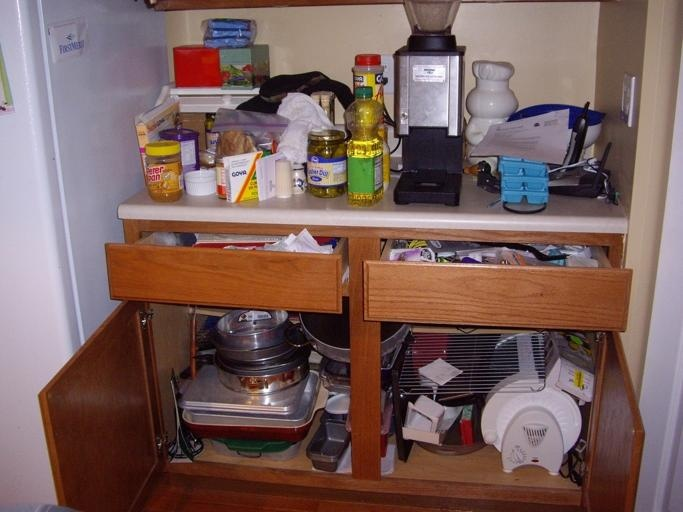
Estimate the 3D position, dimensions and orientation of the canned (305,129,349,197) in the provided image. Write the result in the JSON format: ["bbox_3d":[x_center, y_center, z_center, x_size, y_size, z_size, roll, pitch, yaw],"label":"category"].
[{"bbox_3d":[-0.046,-0.273,1.646,0.129,0.197,0.102,-3,18,0],"label":"canned"}]

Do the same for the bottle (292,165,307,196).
[{"bbox_3d":[-0.134,-0.233,1.695,0.029,0.088,0.058,10,22,34],"label":"bottle"}]

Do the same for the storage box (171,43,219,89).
[{"bbox_3d":[-0.519,-0.655,1.953,0.155,0.155,0.099,1,13,2],"label":"storage box"}]

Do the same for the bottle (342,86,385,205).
[{"bbox_3d":[0.067,-0.327,1.625,0.111,0.321,0.240,-1,18,4],"label":"bottle"}]

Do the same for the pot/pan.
[{"bbox_3d":[-0.142,0.309,1.842,0.487,0.194,0.322,8,13,-12],"label":"pot/pan"}]

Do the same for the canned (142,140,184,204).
[{"bbox_3d":[-0.540,-0.253,1.665,0.112,0.173,0.103,-7,19,-13],"label":"canned"}]

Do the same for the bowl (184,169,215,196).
[{"bbox_3d":[-0.438,-0.222,1.701,0.083,0.052,0.083,1,29,-1],"label":"bowl"}]

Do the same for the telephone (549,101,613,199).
[{"bbox_3d":[0.733,-0.323,1.659,0.180,0.263,0.213,5,20,23],"label":"telephone"}]
